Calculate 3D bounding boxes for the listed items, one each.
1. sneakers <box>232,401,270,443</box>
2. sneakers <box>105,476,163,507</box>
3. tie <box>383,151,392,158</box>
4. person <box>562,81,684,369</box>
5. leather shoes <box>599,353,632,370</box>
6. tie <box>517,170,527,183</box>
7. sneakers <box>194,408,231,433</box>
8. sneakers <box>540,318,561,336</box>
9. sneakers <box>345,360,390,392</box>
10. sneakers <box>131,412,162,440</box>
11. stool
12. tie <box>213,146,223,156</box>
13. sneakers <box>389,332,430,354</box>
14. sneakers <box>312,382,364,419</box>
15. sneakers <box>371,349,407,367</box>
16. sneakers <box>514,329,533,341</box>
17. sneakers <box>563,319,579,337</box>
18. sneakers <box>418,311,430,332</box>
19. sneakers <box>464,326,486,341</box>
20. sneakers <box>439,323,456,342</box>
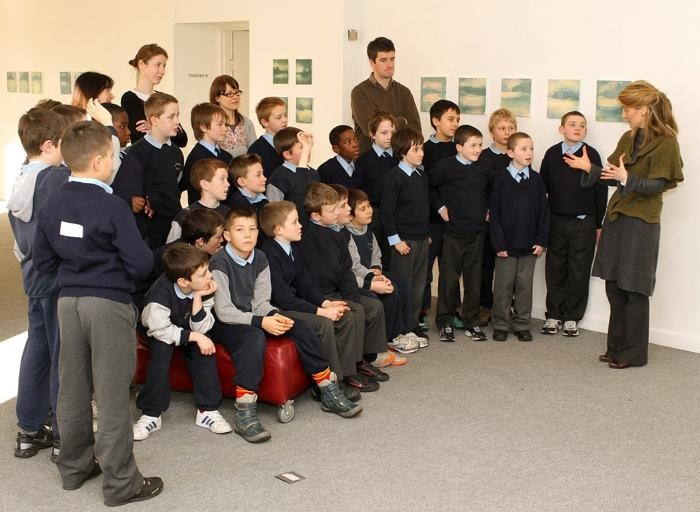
[{"bbox_3d":[-0.589,0.962,3.492,0.142,0.225,0.328,1,2,-41],"label":"sneakers"},{"bbox_3d":[-1.078,1.133,2.932,0.221,0.101,0.100,-11,18,-32],"label":"sneakers"},{"bbox_3d":[0.311,-0.846,4.953,0.056,0.054,0.013,7,-27,-27],"label":"tie"},{"bbox_3d":[2.162,-0.226,4.452,0.569,2.128,0.444,3,11,23],"label":"person"},{"bbox_3d":[2.034,0.809,4.543,0.194,0.077,0.084,1,9,25],"label":"leather shoes"},{"bbox_3d":[1.440,-0.655,4.897,0.088,0.088,0.026,2,-3,-9],"label":"tie"},{"bbox_3d":[-0.832,0.997,3.604,0.254,0.103,0.096,7,11,31],"label":"sneakers"},{"bbox_3d":[1.744,0.618,5.141,0.094,0.095,0.224,-2,-2,32],"label":"sneakers"},{"bbox_3d":[0.115,0.842,4.145,0.210,0.149,0.321,4,11,26],"label":"sneakers"},{"bbox_3d":[-1.205,1.012,3.471,0.076,0.081,0.206,-2,-5,18],"label":"sneakers"},{"bbox_3d":[-0.849,0.738,3.916,1.138,0.501,0.471,1,10,12],"label":"stool"},{"bbox_3d":[-1.033,-0.808,4.572,0.015,0.065,0.048,-10,-12,43],"label":"tie"},{"bbox_3d":[0.471,0.699,4.743,0.249,0.083,0.187,2,9,29],"label":"sneakers"},{"bbox_3d":[-0.072,0.905,3.827,0.380,0.239,0.138,4,12,27],"label":"sneakers"},{"bbox_3d":[0.296,0.789,4.531,0.322,0.137,0.118,-5,7,-12],"label":"sneakers"},{"bbox_3d":[1.478,0.683,5.021,0.062,0.066,0.165,-2,-1,-20],"label":"sneakers"},{"bbox_3d":[1.923,0.626,5.125,0.091,0.073,0.173,-1,1,14],"label":"sneakers"},{"bbox_3d":[0.640,0.568,5.203,0.070,0.147,0.209,1,9,15],"label":"sneakers"},{"bbox_3d":[1.073,0.660,5.038,0.086,0.082,0.178,-11,13,-41],"label":"sneakers"},{"bbox_3d":[0.829,0.661,4.993,0.080,0.088,0.191,0,-1,2],"label":"sneakers"}]
